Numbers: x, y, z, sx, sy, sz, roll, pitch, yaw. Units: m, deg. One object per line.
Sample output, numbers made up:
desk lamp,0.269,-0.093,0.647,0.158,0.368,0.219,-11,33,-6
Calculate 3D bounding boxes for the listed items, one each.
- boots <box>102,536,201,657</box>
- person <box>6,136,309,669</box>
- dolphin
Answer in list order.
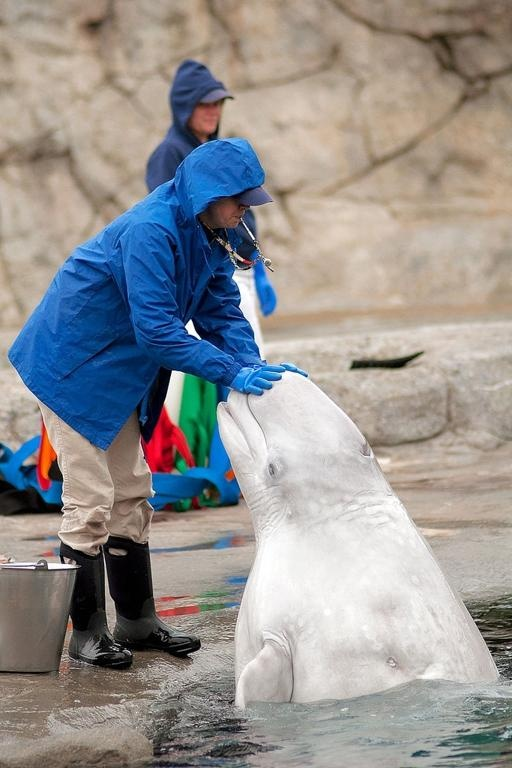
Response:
boots,-0.481,0.703,3.341,0.154,0.332,0.314,-2,-2,-32
person,-0.214,0.091,3.369,0.629,1.635,1.360,-5,8,-44
dolphin,0.153,0.384,2.792,0.749,0.752,0.710,6,17,25
